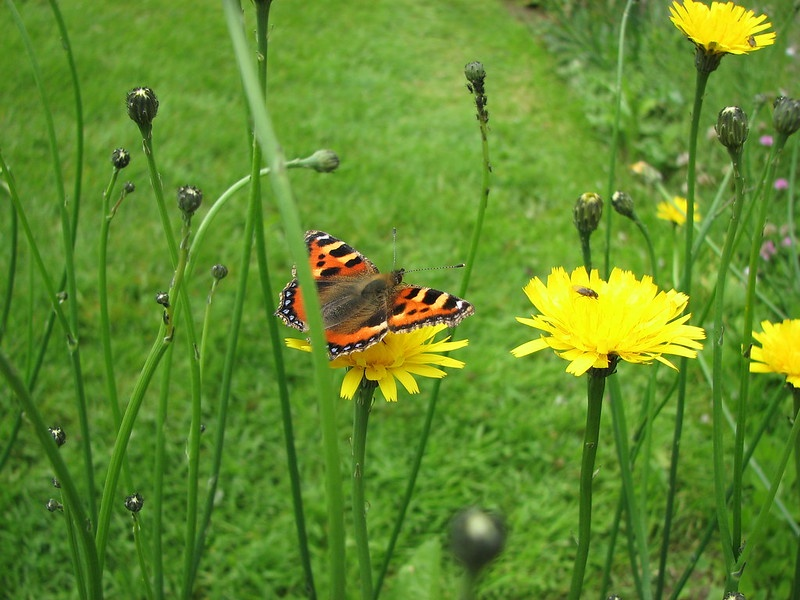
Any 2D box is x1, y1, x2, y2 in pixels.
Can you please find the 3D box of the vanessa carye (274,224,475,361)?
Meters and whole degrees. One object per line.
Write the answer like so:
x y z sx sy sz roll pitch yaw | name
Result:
-0.086 0.019 2.376 0.364 0.114 0.432 -33 45 -29 | vanessa carye
